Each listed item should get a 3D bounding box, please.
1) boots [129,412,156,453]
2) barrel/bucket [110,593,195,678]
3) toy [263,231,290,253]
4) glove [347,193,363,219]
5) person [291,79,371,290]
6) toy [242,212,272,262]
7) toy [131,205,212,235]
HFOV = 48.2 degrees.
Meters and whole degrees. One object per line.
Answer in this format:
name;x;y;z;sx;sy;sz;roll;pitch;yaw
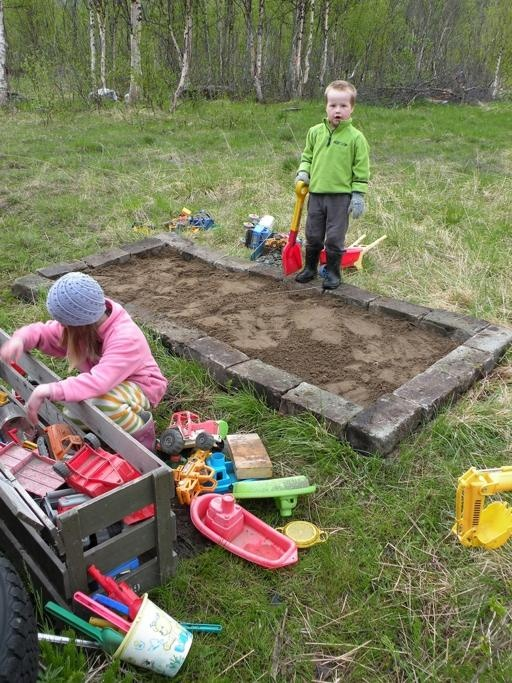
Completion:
boots;-0.471;0.373;2.348;0.102;0.167;0.130;0;42;-4
barrel/bucket;-0.288;0.868;1.752;0.219;0.219;0.234;20;-7;3
toy;0.166;-0.850;4.949;0.282;0.178;0.379;-1;9;5
glove;0.707;-0.966;4.081;0.122;0.160;0.072;-6;-13;28
person;0.520;-1.108;4.155;0.621;1.415;0.323;21;29;32
toy;0.016;-0.965;5.141;0.200;0.244;0.588;6;23;8
toy;-0.812;-1.210;5.703;0.797;0.198;0.584;1;23;-8
